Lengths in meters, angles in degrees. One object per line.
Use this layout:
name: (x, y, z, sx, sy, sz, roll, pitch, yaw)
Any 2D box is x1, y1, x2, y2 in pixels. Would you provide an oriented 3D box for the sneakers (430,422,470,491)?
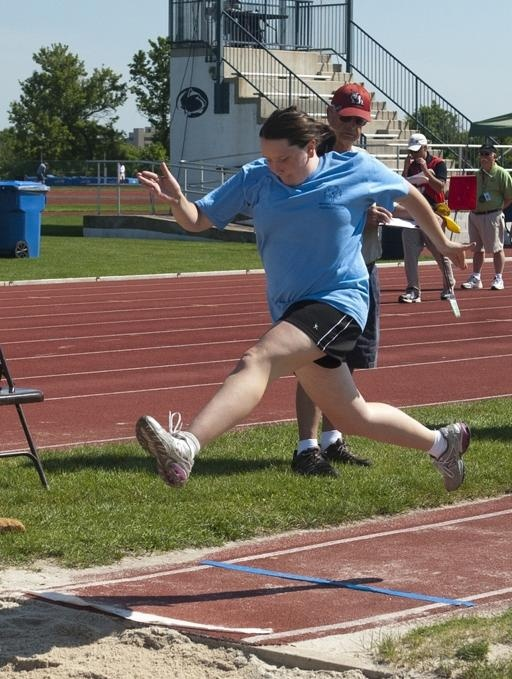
sneakers: (0.828, 0.485, 4.065, 0.180, 0.341, 0.122, -15, 9, -30)

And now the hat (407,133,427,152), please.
hat: (2.389, -2.945, 13.671, 0.226, 0.167, 0.351, 3, 19, 26)

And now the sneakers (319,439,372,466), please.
sneakers: (0.506, 0.650, 5.238, 0.269, 0.104, 0.112, 3, 5, 29)

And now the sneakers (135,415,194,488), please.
sneakers: (-0.292, 0.367, 2.991, 0.195, 0.247, 0.234, -1, 6, -18)

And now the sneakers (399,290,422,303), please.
sneakers: (2.277, -0.629, 13.729, 0.146, 0.172, 0.415, 1, -1, 37)

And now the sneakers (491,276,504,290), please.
sneakers: (4.121, -0.973, 15.738, 0.164, 0.179, 0.421, 0, 10, 18)
